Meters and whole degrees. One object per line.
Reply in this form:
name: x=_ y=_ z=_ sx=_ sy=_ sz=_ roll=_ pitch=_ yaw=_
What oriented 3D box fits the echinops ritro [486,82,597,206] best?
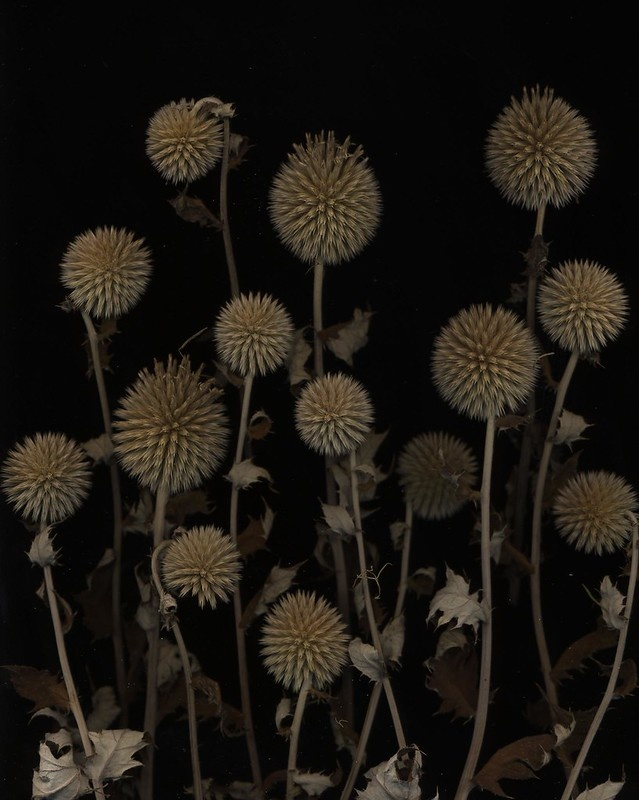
echinops ritro: x=0.447 y=-0.524 z=2.350 sx=0.172 sy=0.175 sz=0.127 roll=19 pitch=-68 yaw=36

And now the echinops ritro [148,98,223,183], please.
echinops ritro: x=-0.277 y=-0.544 z=2.336 sx=0.108 sy=0.134 sz=0.080 roll=-5 pitch=-70 yaw=14

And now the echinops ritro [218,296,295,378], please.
echinops ritro: x=-0.129 y=-0.137 z=2.281 sx=0.108 sy=0.083 sz=0.116 roll=15 pitch=-4 yaw=-16

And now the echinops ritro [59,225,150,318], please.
echinops ritro: x=-0.417 y=-0.264 z=2.344 sx=0.128 sy=0.154 sz=0.109 roll=9 pitch=-70 yaw=23

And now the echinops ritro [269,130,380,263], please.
echinops ritro: x=0.008 y=-0.396 z=2.338 sx=0.210 sy=0.204 sz=0.203 roll=-21 pitch=-45 yaw=22

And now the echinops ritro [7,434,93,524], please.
echinops ritro: x=-0.531 y=0.164 z=2.372 sx=0.151 sy=0.169 sz=0.109 roll=-24 pitch=-6 yaw=-11

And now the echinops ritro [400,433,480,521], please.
echinops ritro: x=0.240 y=0.145 z=2.366 sx=0.133 sy=0.102 sz=0.157 roll=10 pitch=10 yaw=6

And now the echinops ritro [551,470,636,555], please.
echinops ritro: x=0.556 y=0.229 z=2.359 sx=0.173 sy=0.136 sz=0.091 roll=3 pitch=-40 yaw=-4

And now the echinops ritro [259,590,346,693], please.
echinops ritro: x=-0.028 y=0.455 z=2.201 sx=0.150 sy=0.189 sz=0.119 roll=5 pitch=-24 yaw=-2

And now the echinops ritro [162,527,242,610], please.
echinops ritro: x=-0.214 y=0.309 z=2.202 sx=0.124 sy=0.106 sz=0.145 roll=11 pitch=3 yaw=14

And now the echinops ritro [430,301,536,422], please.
echinops ritro: x=0.321 y=-0.072 z=2.253 sx=0.186 sy=0.207 sz=0.144 roll=1 pitch=-40 yaw=-1

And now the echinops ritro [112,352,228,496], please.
echinops ritro: x=-0.282 y=0.046 z=2.235 sx=0.139 sy=0.216 sz=0.153 roll=1 pitch=2 yaw=44

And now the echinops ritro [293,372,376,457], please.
echinops ritro: x=0.029 y=0.031 z=2.229 sx=0.141 sy=0.147 sz=0.091 roll=38 pitch=-7 yaw=5
